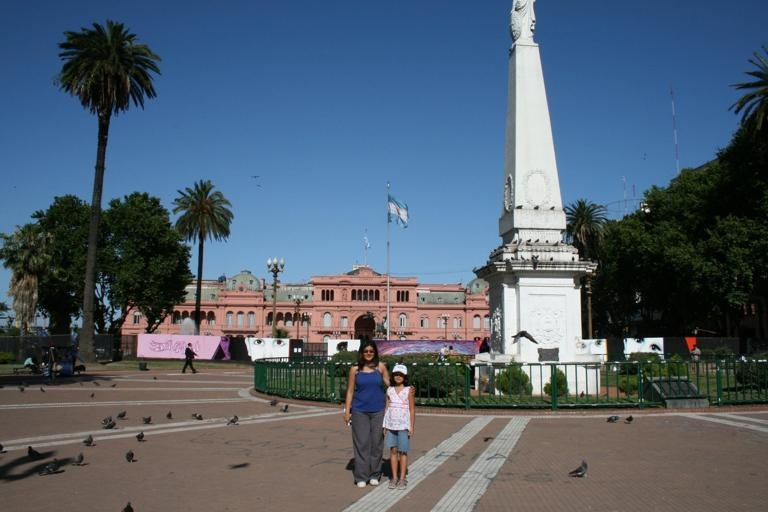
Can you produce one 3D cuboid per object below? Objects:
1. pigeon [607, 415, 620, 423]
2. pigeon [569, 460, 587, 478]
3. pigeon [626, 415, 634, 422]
[{"bbox_3d":[6.669,4.760,21.375,0.279,0.191,0.183,18,5,36],"label":"pigeon"},{"bbox_3d":[4.363,4.784,16.520,0.401,0.335,0.431,-3,-8,13],"label":"pigeon"},{"bbox_3d":[7.117,4.724,21.265,0.179,0.169,0.236,8,-17,-3],"label":"pigeon"}]
